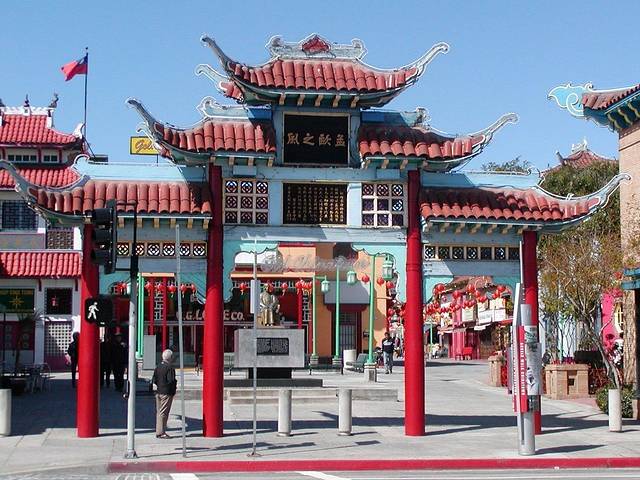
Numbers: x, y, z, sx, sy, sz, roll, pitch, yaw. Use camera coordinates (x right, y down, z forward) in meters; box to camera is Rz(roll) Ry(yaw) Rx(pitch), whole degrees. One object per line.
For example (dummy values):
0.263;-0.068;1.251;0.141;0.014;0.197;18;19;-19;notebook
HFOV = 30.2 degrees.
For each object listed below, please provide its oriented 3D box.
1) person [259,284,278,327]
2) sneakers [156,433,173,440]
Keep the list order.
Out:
-2.042;2.524;46.706;0.740;1.714;1.461;-1;-7;-3;person
-4.631;5.764;34.793;0.309;0.143;0.182;-2;-4;10;sneakers
